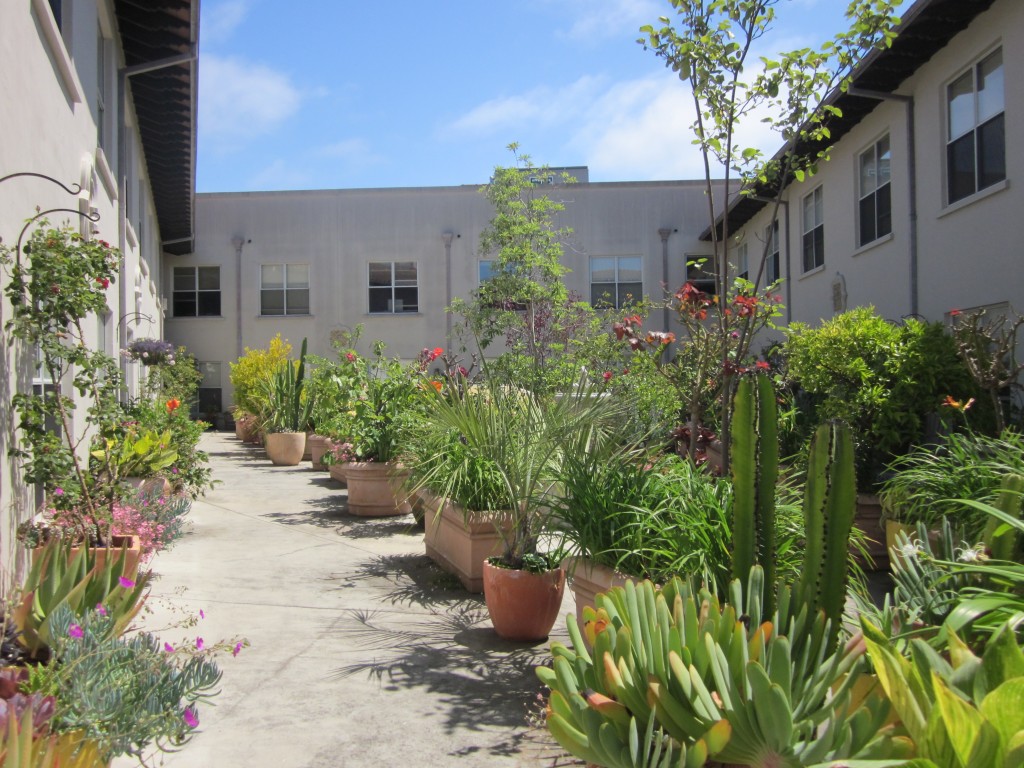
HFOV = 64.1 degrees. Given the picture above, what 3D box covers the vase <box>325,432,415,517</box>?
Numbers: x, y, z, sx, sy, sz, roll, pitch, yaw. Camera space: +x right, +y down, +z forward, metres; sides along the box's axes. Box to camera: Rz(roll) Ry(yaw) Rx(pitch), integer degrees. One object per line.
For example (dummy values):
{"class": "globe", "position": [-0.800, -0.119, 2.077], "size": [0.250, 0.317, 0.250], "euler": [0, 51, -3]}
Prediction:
{"class": "vase", "position": [-1.497, 0.972, 8.817], "size": [0.777, 0.686, 0.843], "euler": [0, -2, -10]}
